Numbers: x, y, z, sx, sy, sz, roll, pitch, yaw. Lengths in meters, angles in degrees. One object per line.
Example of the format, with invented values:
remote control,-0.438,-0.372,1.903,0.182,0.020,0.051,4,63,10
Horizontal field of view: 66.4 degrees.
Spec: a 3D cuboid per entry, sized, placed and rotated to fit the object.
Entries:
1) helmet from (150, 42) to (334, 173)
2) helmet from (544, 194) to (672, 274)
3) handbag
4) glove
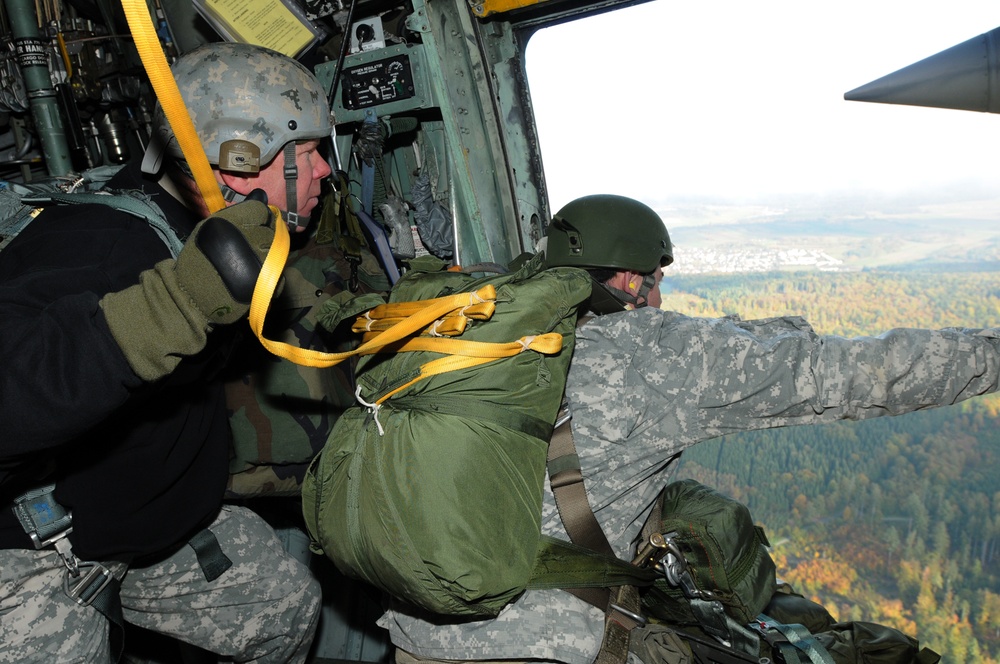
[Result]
helmet,-1.000,-0.899,3.129,0.640,0.460,0.484,9,8,-12
helmet,0.413,-0.389,3.204,0.592,0.345,0.511,3,3,-17
handbag,0.820,0.849,2.934,0.414,0.294,0.400,50,17,17
glove,-0.921,-0.106,2.232,0.608,0.362,0.186,-37,-8,4
